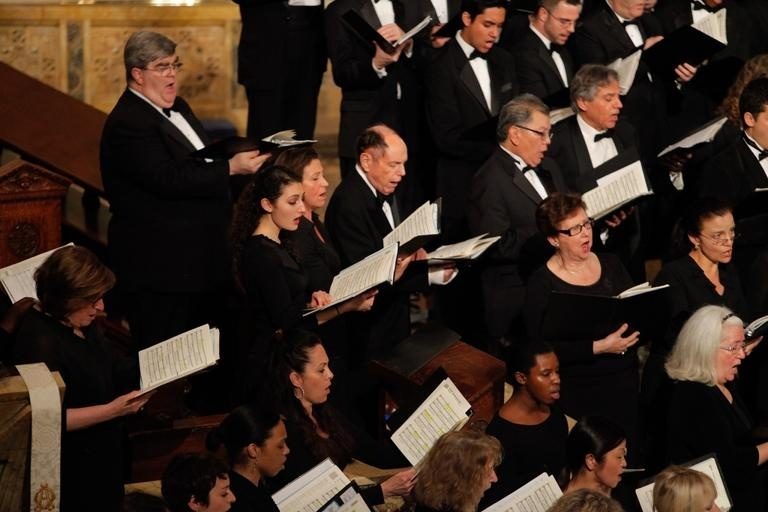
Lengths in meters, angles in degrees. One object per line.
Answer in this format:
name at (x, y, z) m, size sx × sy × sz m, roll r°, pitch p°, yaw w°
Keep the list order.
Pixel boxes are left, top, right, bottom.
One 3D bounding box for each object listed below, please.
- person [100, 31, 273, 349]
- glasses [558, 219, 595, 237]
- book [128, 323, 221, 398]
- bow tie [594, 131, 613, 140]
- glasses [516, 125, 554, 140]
person at (-1.464, -0.433, 5.583) m, size 0.860 × 2.086 × 0.471 m, roll -7°, pitch 18°, yaw -18°
glasses at (1.335, -0.188, 5.678) m, size 0.148 × 0.043 × 0.146 m, roll -14°, pitch -7°, yaw -35°
book at (-1.230, 0.606, 4.889) m, size 0.449 × 0.162 × 0.421 m, roll -20°, pitch 26°, yaw 14°
bow tie at (1.754, -0.953, 6.541) m, size 0.172 × 0.087 × 0.061 m, roll -10°, pitch 19°, yaw -29°
glasses at (1.119, -0.933, 6.174) m, size 0.166 × 0.047 × 0.160 m, roll 19°, pitch 4°, yaw -1°
